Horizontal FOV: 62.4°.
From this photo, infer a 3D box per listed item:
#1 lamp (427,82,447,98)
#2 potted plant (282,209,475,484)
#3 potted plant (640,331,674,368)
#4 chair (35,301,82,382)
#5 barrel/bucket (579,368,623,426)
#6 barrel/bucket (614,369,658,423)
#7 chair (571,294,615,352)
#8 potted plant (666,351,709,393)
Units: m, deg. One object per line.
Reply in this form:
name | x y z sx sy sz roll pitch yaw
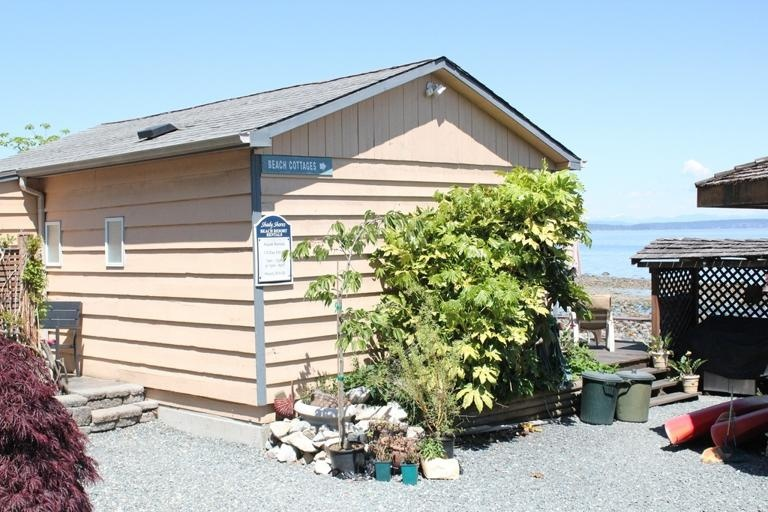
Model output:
lamp | 0.925 -2.865 10.871 0.494 0.281 0.172 -4 8 -35
potted plant | 0.091 1.103 9.066 2.469 3.451 2.099 5 8 35
potted plant | 5.473 1.906 12.756 0.637 0.685 0.600 0 -6 5
chair | -5.556 1.484 11.190 0.915 1.224 0.944 0 -7 37
barrel/bucket | 3.757 2.410 10.720 0.799 0.863 0.768 8 -20 3
barrel/bucket | 4.191 2.400 10.905 0.800 0.815 0.729 2 -7 0
chair | 4.751 1.498 14.566 0.826 1.200 0.873 2 -2 -7
potted plant | 5.821 2.241 12.184 0.678 0.608 0.673 2 -2 4
